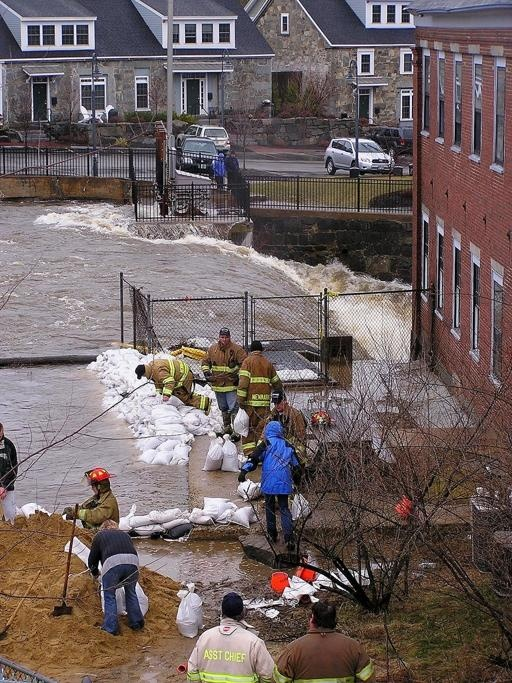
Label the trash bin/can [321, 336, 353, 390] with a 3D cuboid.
[{"bbox_3d":[1.384,0.349,15.468,0.516,0.949,1.455,0,10,4],"label":"trash bin/can"}]

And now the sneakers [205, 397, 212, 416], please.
[{"bbox_3d":[-0.731,0.992,13.692,0.102,0.269,0.083,3,1,-9],"label":"sneakers"}]

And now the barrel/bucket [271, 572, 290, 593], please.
[{"bbox_3d":[0.233,2.148,7.988,0.146,0.160,0.149,2,8,0],"label":"barrel/bucket"}]

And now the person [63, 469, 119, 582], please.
[{"bbox_3d":[-1.464,1.526,8.102,0.425,0.904,0.508,0,19,-32],"label":"person"}]

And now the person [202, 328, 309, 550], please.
[{"bbox_3d":[0.193,1.044,8.930,0.758,1.810,0.767,1,13,-13],"label":"person"}]

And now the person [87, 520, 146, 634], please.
[{"bbox_3d":[-1.080,1.803,6.893,0.365,0.862,0.546,-3,-7,-5],"label":"person"}]

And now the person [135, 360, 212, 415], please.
[{"bbox_3d":[-1.316,0.673,13.926,0.974,0.901,1.017,4,18,-11],"label":"person"}]

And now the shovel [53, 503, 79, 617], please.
[{"bbox_3d":[-1.430,1.690,6.822,0.159,0.843,0.334,0,24,-22],"label":"shovel"}]
